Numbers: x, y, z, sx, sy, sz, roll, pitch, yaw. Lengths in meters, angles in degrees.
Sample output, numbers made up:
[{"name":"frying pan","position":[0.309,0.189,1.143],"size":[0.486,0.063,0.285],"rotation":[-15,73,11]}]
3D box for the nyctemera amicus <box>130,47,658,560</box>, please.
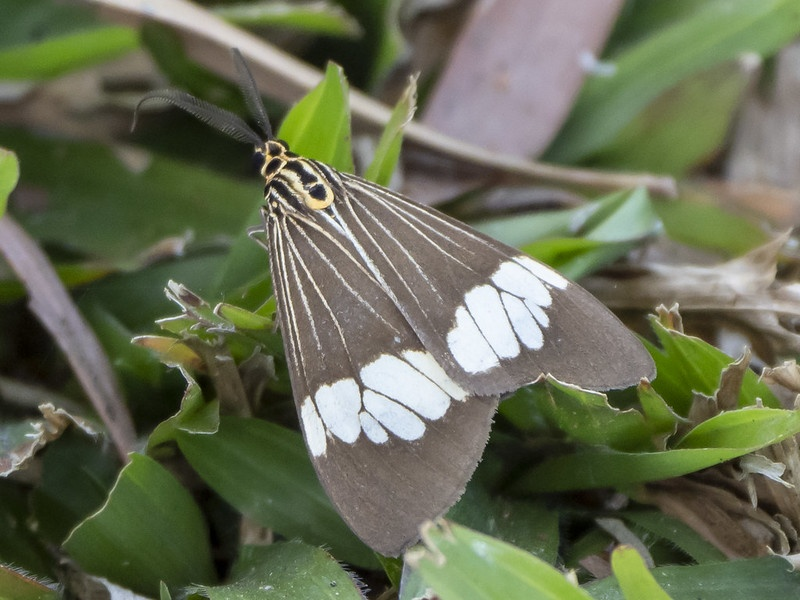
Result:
[{"name":"nyctemera amicus","position":[-0.017,0.015,1.127],"size":[0.347,0.184,0.603],"rotation":[-41,75,-2]}]
